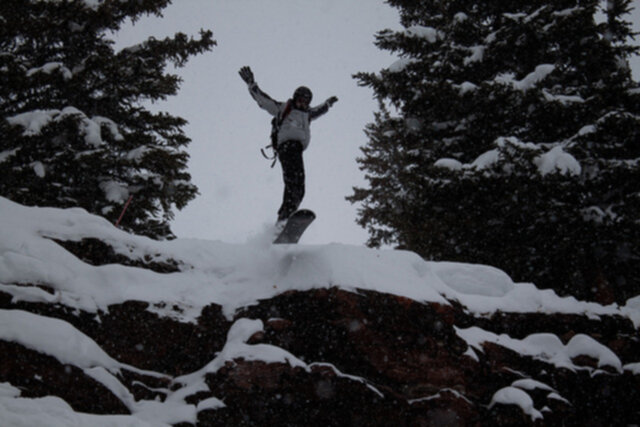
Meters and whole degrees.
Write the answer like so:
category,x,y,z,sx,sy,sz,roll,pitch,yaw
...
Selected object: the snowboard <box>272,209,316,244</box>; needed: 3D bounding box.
category,x,y,z,sx,sy,sz,roll,pitch,yaw
snowboard,-0.555,0.324,18.327,0.564,0.654,0.994,18,-23,-24
